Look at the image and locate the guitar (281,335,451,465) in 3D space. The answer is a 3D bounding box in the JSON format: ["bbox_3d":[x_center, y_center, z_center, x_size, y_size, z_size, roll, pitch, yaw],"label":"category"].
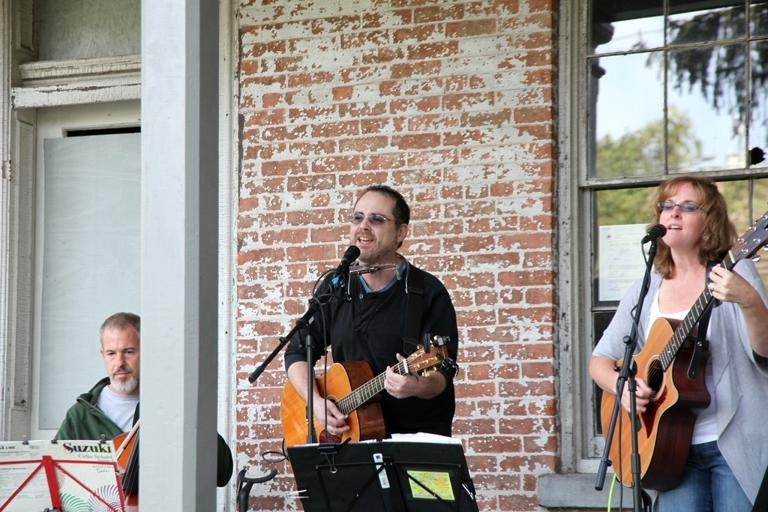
[{"bbox_3d":[-0.161,0.761,8.386,1.279,0.568,0.451,-6,-2,41],"label":"guitar"}]

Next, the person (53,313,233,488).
[{"bbox_3d":[-1.616,0.802,8.862,0.775,1.239,0.410,6,-9,-21],"label":"person"}]
